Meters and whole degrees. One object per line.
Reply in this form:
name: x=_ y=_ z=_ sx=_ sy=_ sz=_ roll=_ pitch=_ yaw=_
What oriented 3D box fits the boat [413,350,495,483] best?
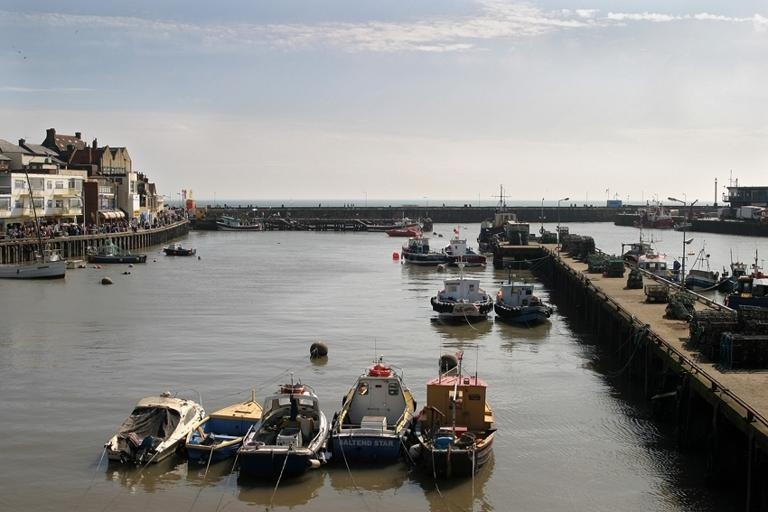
boat: x=3.385 y=8.214 z=44.972 sx=3.635 sy=4.389 sz=3.749 roll=1 pitch=8 yaw=23

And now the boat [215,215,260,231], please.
boat: x=-28.557 y=-6.157 z=186.057 sx=7.482 sy=2.688 sz=10.254 roll=1 pitch=7 yaw=20

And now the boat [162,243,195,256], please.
boat: x=-27.291 y=-0.710 z=124.206 sx=4.803 sy=1.377 sz=1.555 roll=6 pitch=15 yaw=11

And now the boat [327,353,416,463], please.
boat: x=-0.648 y=7.846 z=45.915 sx=3.676 sy=4.165 sz=3.784 roll=1 pitch=7 yaw=19
